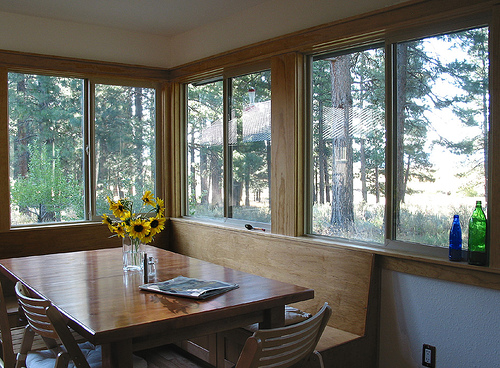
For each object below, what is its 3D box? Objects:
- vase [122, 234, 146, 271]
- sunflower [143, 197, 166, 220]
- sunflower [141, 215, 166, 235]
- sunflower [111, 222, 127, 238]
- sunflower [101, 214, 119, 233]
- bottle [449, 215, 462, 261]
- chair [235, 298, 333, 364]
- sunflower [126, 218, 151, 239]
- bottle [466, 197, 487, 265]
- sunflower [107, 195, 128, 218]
[{"bbox_3d":[-0.785,0.474,2.782,0.142,0.239,0.142,-2,-2,-17],"label":"vase"},{"bbox_3d":[-0.659,0.131,2.803,0.138,0.216,0.212,-6,2,-2],"label":"sunflower"},{"bbox_3d":[-0.637,0.294,2.647,0.078,0.090,0.128,-2,2,-31],"label":"sunflower"},{"bbox_3d":[-0.902,0.324,2.731,0.117,0.104,0.084,2,6,17],"label":"sunflower"},{"bbox_3d":[-0.997,0.279,2.743,0.115,0.072,0.091,1,39,-46],"label":"sunflower"},{"bbox_3d":[1.451,0.375,2.756,0.085,0.318,0.127,3,6,27],"label":"bottle"},{"bbox_3d":[0.188,0.805,1.918,0.155,0.350,0.562,5,7,42],"label":"chair"},{"bbox_3d":[-0.750,0.302,2.639,0.155,0.140,0.031,0,6,5],"label":"sunflower"},{"bbox_3d":[1.543,0.328,2.638,0.114,0.427,0.095,4,7,32],"label":"bottle"},{"bbox_3d":[-0.930,0.166,2.691,0.204,0.104,0.104,4,7,37],"label":"sunflower"}]
